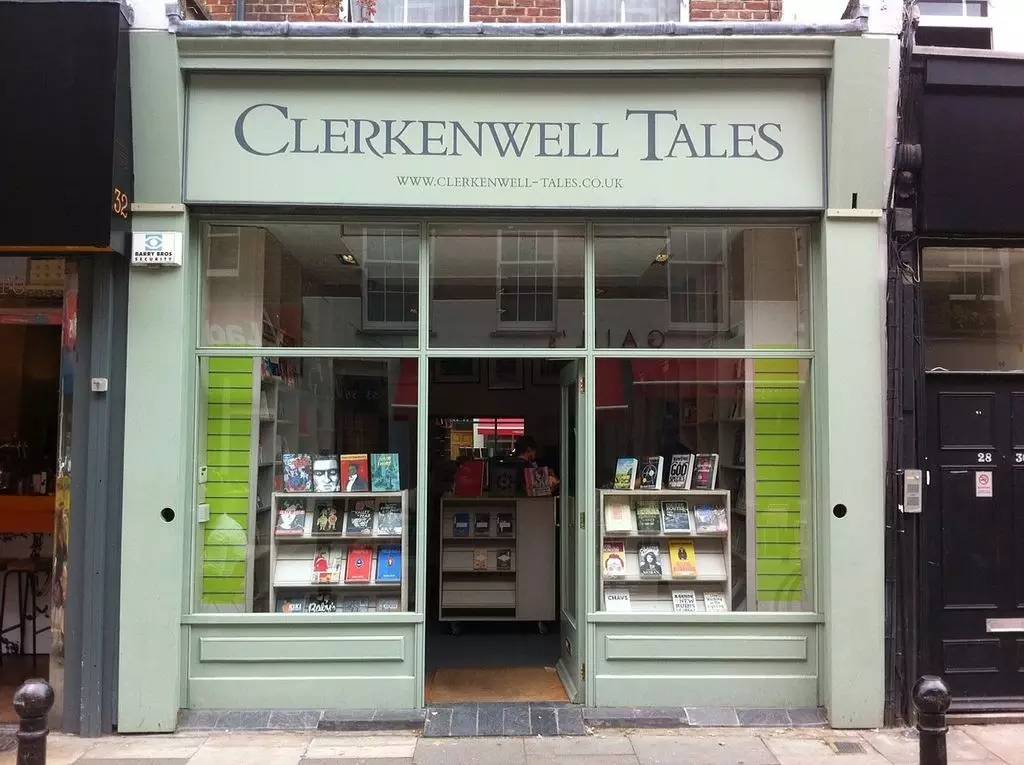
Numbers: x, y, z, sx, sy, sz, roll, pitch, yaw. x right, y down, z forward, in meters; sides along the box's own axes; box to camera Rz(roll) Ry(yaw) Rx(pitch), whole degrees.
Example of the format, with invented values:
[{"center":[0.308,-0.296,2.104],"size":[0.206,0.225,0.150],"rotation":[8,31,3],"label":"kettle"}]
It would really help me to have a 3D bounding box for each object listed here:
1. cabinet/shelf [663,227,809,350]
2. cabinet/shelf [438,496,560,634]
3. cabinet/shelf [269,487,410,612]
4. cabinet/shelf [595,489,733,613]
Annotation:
[{"center":[2.039,-0.792,10.587],"size":[1.391,1.258,0.484],"rotation":[6,12,34],"label":"cabinet/shelf"},{"center":[-0.247,1.916,12.659],"size":[1.341,1.359,0.506],"rotation":[1,-1,-14],"label":"cabinet/shelf"},{"center":[-1.537,1.484,10.187],"size":[0.983,0.896,0.295],"rotation":[0,-9,-2],"label":"cabinet/shelf"},{"center":[1.316,1.524,10.242],"size":[0.966,0.875,0.327],"rotation":[1,-10,-2],"label":"cabinet/shelf"}]
